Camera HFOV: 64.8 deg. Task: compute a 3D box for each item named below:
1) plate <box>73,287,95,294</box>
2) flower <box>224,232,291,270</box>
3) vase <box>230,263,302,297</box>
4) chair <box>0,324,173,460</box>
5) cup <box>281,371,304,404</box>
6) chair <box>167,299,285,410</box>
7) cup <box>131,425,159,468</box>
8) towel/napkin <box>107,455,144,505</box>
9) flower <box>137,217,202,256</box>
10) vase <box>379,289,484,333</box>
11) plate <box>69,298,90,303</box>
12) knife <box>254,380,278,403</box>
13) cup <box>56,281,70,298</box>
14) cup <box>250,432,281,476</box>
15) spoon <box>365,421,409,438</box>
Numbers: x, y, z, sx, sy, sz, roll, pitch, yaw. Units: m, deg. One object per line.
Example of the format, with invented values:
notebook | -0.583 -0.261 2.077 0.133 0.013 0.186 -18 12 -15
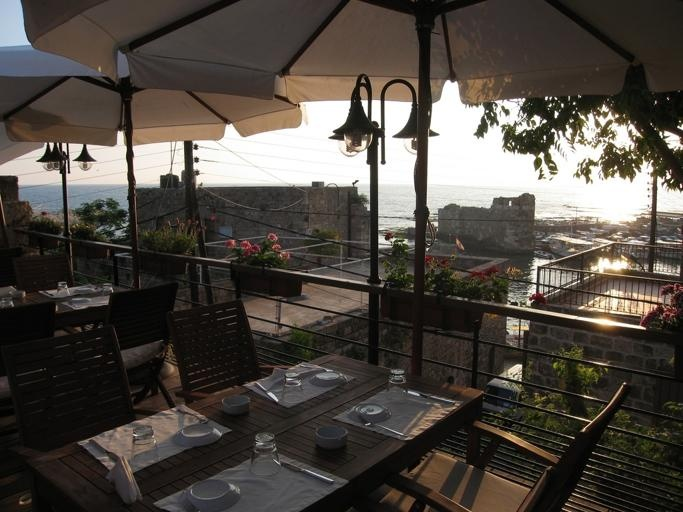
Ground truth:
plate | -2.411 0.332 5.036 0.125 0.041 0.090 -9 -8 26
flower | -0.883 0.036 5.879 0.686 0.386 0.743 8 3 19
vase | -0.743 0.264 5.073 0.520 0.198 0.355 9 12 32
chair | -1.597 0.679 3.560 0.721 1.096 0.794 -10 5 -42
cup | -0.286 0.772 3.151 0.102 0.120 0.121 1 -2 -11
chair | -0.838 0.614 4.067 0.620 0.986 0.687 -10 8 -35
cup | -0.958 0.951 2.649 0.130 0.161 0.144 -4 -10 16
towel/napkin | -0.948 0.987 2.405 0.059 0.190 0.141 -11 -21 -40
flower | -2.174 -0.185 6.589 0.473 0.352 0.457 -5 2 -32
vase | 0.634 0.424 4.079 0.558 0.173 0.380 10 8 32
plate | -2.277 0.401 4.698 0.119 0.018 0.072 3 3 12
knife | -0.435 0.802 3.125 0.052 0.064 0.388 -4 10 -18
cup | -2.578 0.323 4.984 0.149 0.163 0.165 -1 -2 -3
cup | -0.350 0.940 2.586 0.165 0.166 0.150 1 1 -42
spoon | 0.233 0.910 2.783 0.031 0.029 0.187 -9 11 -44
